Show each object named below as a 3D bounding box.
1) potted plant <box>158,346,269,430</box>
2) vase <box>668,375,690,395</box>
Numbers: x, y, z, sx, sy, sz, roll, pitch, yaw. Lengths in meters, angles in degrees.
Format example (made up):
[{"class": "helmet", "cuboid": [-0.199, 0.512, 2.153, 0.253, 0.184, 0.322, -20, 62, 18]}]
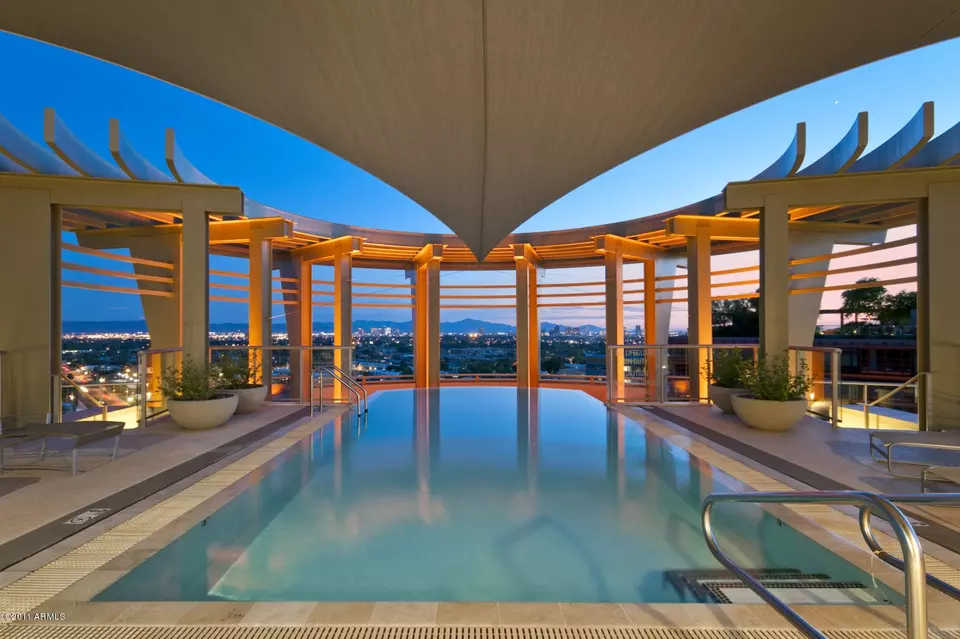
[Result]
[{"class": "potted plant", "cuboid": [-4.271, 1.106, 9.598, 1.056, 0.820, 1.250, 1, -3, -7]}, {"class": "vase", "cuboid": [3.710, 1.185, 11.352, 0.221, 0.362, 0.687, 11, 15, 38]}]
